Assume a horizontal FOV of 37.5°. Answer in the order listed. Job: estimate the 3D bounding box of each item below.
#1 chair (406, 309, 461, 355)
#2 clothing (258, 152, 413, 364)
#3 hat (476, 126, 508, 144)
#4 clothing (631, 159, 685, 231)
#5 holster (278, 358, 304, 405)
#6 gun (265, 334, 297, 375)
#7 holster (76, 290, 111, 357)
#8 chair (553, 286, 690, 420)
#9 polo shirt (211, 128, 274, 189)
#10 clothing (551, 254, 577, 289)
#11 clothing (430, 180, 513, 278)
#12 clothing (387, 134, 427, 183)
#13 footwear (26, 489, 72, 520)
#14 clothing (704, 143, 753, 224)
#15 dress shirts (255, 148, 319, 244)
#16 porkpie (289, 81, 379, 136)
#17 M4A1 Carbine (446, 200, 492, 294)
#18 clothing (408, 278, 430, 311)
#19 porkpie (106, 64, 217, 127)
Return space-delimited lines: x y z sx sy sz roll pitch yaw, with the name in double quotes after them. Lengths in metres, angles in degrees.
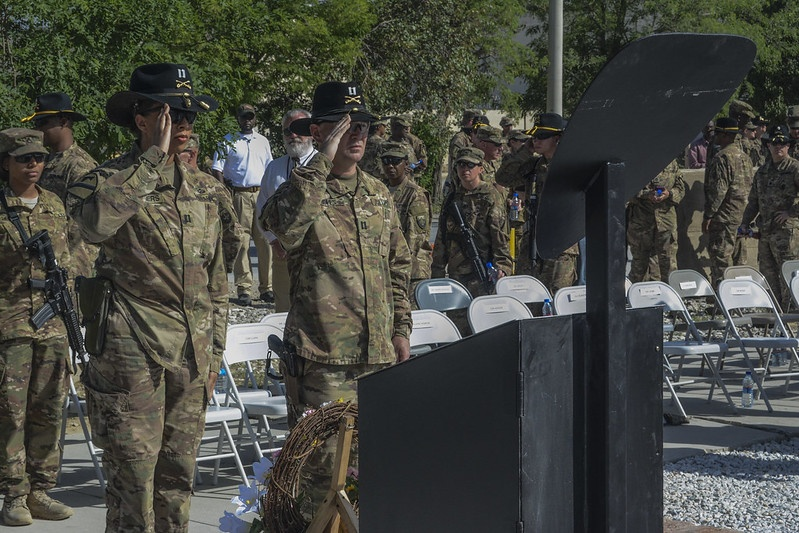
0.252 0.587 10.519 0.446 0.574 0.432 -1 -6 -15 "chair"
-0.429 -0.035 8.358 0.706 1.389 1.452 -1 -3 38 "clothing"
1.133 -1.719 15.194 0.311 0.118 0.220 7 4 29 "hat"
3.513 -0.848 16.104 0.673 1.552 0.608 3 3 20 "clothing"
-0.781 0.823 8.024 0.099 0.366 0.206 -1 4 -44 "holster"
-0.820 0.613 8.109 0.099 0.218 0.357 -7 15 -25 "gun"
-2.042 0.361 7.749 0.254 0.481 0.132 5 15 21 "holster"
2.135 0.958 11.254 1.211 1.498 1.065 1 6 33 "chair"
-2.172 -1.530 16.349 1.002 0.767 0.451 -9 19 -38 "polo shirt"
1.660 0.047 11.926 0.287 0.388 0.221 7 -19 4 "clothing"
0.725 -0.358 12.229 0.696 1.100 0.413 -2 5 33 "clothing"
0.175 -1.556 15.938 0.570 0.366 0.695 -7 -24 22 "clothing"
-2.768 1.897 9.268 0.428 0.190 0.165 3 2 15 "footwear"
4.502 -1.197 16.228 0.623 1.106 0.925 6 10 39 "clothing"
-1.245 -0.895 11.952 0.565 0.560 0.326 -1 24 -42 "dress shirts"
-0.476 -1.116 8.220 0.405 0.197 0.445 -1 0 -30 "porkpie"
0.729 -0.212 12.127 0.302 0.981 0.133 -21 -11 13 "M4A1 Carbine"
0.125 0.280 11.785 0.261 0.256 0.353 5 6 -20 "clothing"
-1.662 -1.236 7.994 0.660 0.338 0.762 9 15 32 "porkpie"
